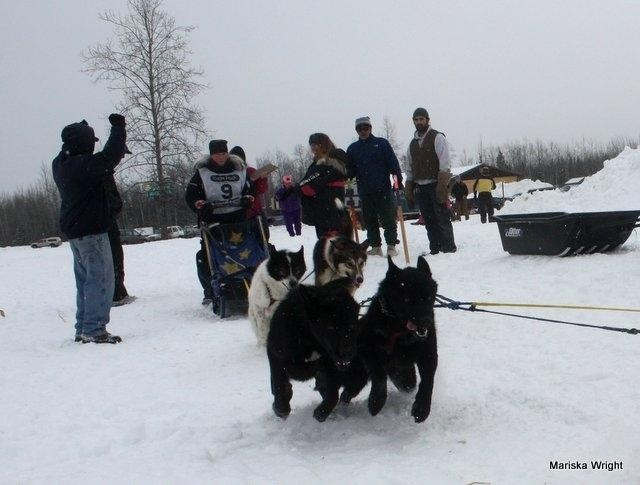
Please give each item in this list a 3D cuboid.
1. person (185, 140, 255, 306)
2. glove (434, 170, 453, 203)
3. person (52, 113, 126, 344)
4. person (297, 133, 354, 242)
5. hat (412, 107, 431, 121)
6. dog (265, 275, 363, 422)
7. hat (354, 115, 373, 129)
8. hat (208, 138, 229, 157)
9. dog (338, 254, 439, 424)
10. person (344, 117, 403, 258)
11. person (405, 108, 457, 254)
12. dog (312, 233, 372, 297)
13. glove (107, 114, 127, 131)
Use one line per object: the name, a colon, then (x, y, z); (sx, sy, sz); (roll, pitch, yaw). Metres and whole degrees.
person: (-1.464, -0.190, 7.627); (0.931, 2.601, 0.820); (-6, 19, -29)
glove: (2.185, -0.953, 8.921); (0.177, 0.520, 0.360); (4, -5, -24)
person: (-2.616, -0.090, 6.010); (0.730, 2.690, 0.991); (-9, 13, -34)
person: (0.023, -0.700, 8.417); (0.862, 2.091, 0.817); (8, 12, 33)
hat: (1.828, -2.284, 9.198); (0.231, 0.191, 0.174); (-2, 11, 1)
dog: (-0.133, 0.883, 4.239); (0.532, 1.255, 1.536); (-2, -1, -23)
hat: (0.762, -2.091, 9.076); (0.253, 0.179, 0.193); (1, 12, 17)
hat: (-1.433, -1.320, 7.230); (0.241, 0.221, 0.458); (-5, 12, -13)
dog: (0.787, 0.749, 4.302); (0.335, 0.833, 1.489); (16, 19, 7)
person: (0.907, -0.937, 9.324); (1.117, 2.682, 0.863); (-10, 22, 4)
person: (1.976, -1.048, 9.311); (0.707, 2.665, 1.008); (-12, 15, -43)
dog: (0.246, 0.215, 6.231); (0.411, 0.647, 0.810); (-2, 25, -21)
glove: (-2.277, -1.347, 5.768); (0.153, 0.159, 0.321); (-7, 13, -22)
